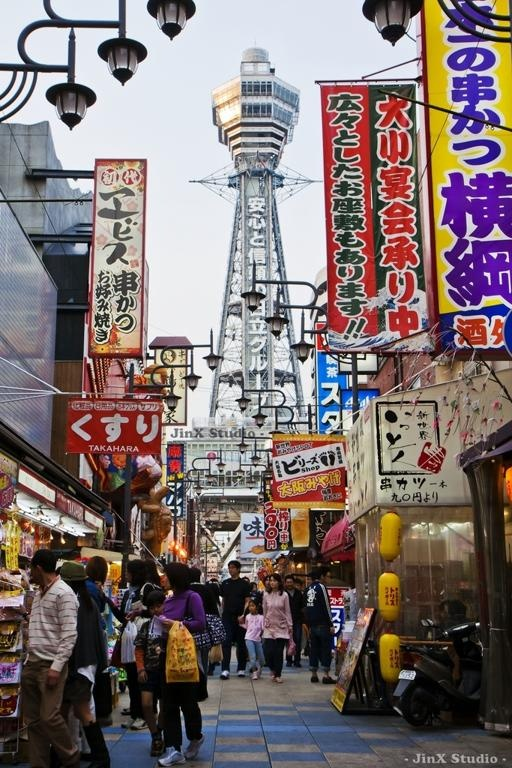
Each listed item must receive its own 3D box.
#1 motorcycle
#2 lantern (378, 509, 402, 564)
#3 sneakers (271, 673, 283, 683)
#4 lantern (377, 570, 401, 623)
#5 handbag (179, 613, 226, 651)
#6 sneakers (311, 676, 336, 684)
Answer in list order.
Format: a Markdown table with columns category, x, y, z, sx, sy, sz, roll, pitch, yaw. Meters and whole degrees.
| category | x | y | z | sx | sy | sz | roll | pitch | yaw |
| --- | --- | --- | --- | --- | --- | --- | --- | --- | --- |
| motorcycle | 1.800 | 2.673 | 8.470 | 1.308 | 0.900 | 0.583 | 12 | -17 | -37 |
| lantern | 1.433 | 1.638 | 9.743 | 0.216 | 0.547 | 0.482 | -4 | -13 | 10 |
| sneakers | 0.292 | 4.110 | 12.690 | 0.070 | 0.063 | 0.202 | 10 | -3 | -14 |
| lantern | 1.404 | 2.231 | 9.494 | 0.243 | 0.508 | 0.249 | 2 | -13 | -18 |
| handbag | -0.421 | 2.115 | 7.891 | 0.316 | 0.204 | 0.549 | 0 | -11 | 2 |
| sneakers | 0.936 | 4.138 | 12.654 | 0.299 | 0.127 | 0.163 | 3 | -12 | -1 |
